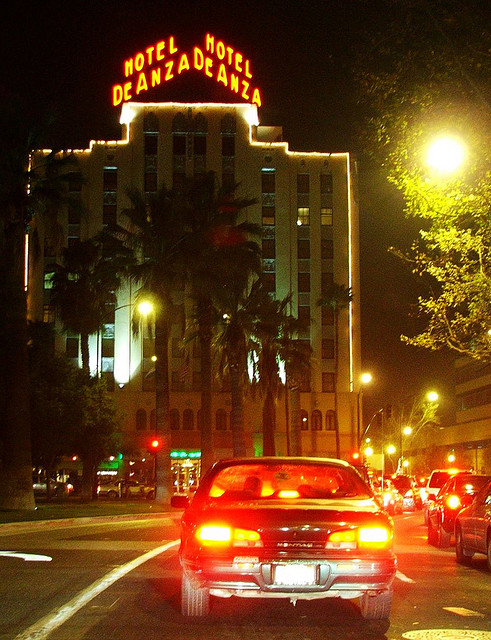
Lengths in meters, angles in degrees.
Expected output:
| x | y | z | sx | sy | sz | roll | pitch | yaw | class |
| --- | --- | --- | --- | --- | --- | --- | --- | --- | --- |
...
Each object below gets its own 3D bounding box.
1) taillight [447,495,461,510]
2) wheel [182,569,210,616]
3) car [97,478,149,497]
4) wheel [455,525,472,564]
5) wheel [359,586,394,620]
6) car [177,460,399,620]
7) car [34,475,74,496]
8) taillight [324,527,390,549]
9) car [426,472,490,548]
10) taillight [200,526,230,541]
| x | y | z | sx | sy | sz | roll | pitch | yaw | class |
| --- | --- | --- | --- | --- | --- | --- | --- | --- | --- |
| 4.322 | 3.818 | 15.609 | 0.205 | 0.261 | 0.207 | 24 | -17 | -28 | taillight |
| -0.424 | 2.358 | 6.398 | 0.229 | 0.434 | 0.484 | 0 | -9 | -4 | wheel |
| -10.526 | 14.160 | 61.662 | 4.102 | 1.455 | 1.897 | 1 | -11 | 2 | car |
| 3.635 | 3.775 | 12.510 | 0.218 | 0.770 | 0.720 | 1 | -13 | 8 | wheel |
| 1.131 | 2.464 | 6.443 | 0.198 | 0.285 | 0.331 | 0 | -9 | -1 | wheel |
| 0.312 | 2.201 | 7.215 | 1.645 | 1.438 | 3.409 | 1 | -16 | -1 | car |
| -17.004 | 14.668 | 66.044 | 2.287 | 1.719 | 4.514 | -4 | -10 | 21 | car |
| 0.848 | 1.637 | 5.576 | 0.244 | 0.069 | 0.261 | -3 | -5 | 27 | taillight |
| 4.624 | 4.059 | 16.106 | 0.985 | 1.141 | 2.373 | 0 | -10 | 6 | car |
| -0.233 | 1.623 | 5.668 | 0.268 | 0.104 | 0.047 | -7 | -11 | 34 | taillight |
